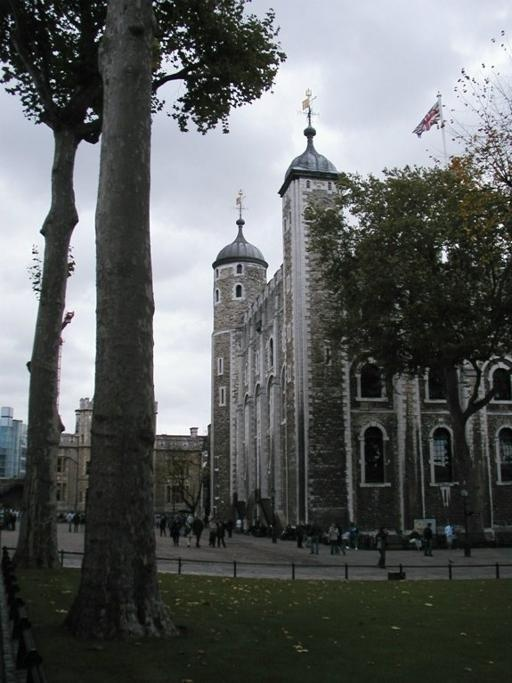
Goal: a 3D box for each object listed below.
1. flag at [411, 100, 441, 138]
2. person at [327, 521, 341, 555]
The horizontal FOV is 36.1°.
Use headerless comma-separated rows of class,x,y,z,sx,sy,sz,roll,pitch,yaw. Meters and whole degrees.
flag,8.796,-11.364,39.893,1.192,2.171,2.113,-4,-11,12
person,3.000,7.549,30.022,0.407,1.075,1.367,-3,-11,6
